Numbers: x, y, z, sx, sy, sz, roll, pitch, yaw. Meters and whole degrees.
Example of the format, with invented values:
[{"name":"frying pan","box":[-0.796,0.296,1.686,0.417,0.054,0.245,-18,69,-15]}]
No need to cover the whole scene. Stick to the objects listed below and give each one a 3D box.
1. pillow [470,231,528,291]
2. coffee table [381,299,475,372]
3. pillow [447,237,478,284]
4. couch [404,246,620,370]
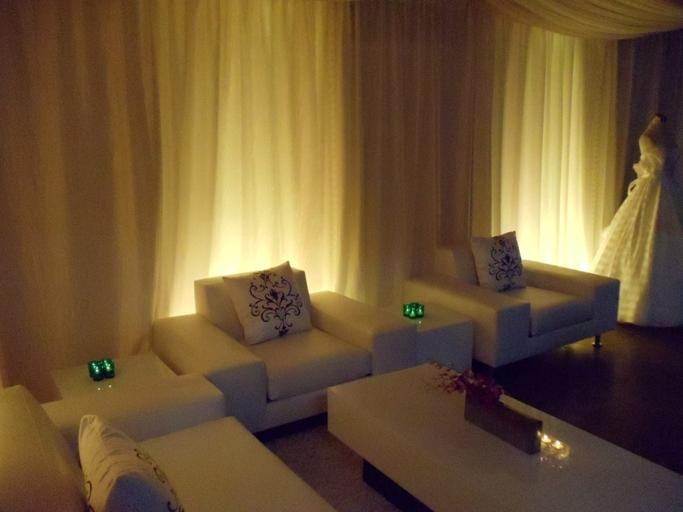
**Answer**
[{"name":"pillow","box":[1.376,0.060,4.816,0.421,0.426,0.204,-11,15,-26]},{"name":"coffee table","box":[0.706,0.581,4.146,0.485,0.406,0.496,-6,12,-28]},{"name":"pillow","box":[1.118,0.053,4.860,0.110,0.320,0.303,-27,-11,31]},{"name":"couch","box":[1.547,0.387,4.967,1.617,0.988,1.304,-7,10,-23]}]
